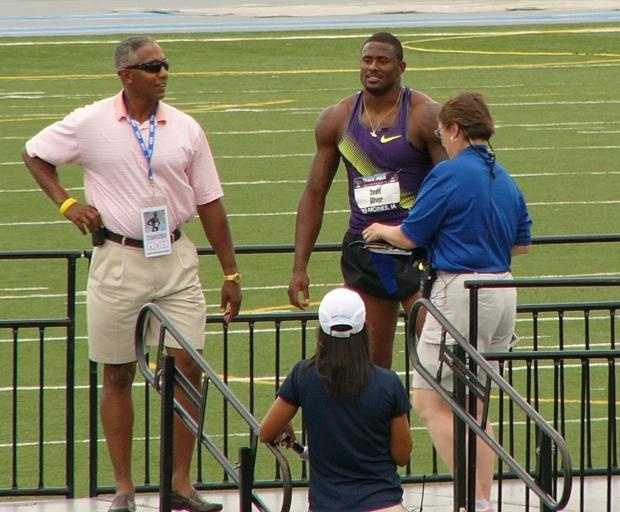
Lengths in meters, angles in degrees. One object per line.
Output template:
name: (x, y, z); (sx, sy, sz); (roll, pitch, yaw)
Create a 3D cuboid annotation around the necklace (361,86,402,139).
necklace: (0.739, -1.461, 17.909); (0.361, 0.530, 0.160); (6, 6, 8)

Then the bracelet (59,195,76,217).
bracelet: (-2.414, -0.485, 17.421); (0.076, 0.173, 0.180); (41, 8, -6)
